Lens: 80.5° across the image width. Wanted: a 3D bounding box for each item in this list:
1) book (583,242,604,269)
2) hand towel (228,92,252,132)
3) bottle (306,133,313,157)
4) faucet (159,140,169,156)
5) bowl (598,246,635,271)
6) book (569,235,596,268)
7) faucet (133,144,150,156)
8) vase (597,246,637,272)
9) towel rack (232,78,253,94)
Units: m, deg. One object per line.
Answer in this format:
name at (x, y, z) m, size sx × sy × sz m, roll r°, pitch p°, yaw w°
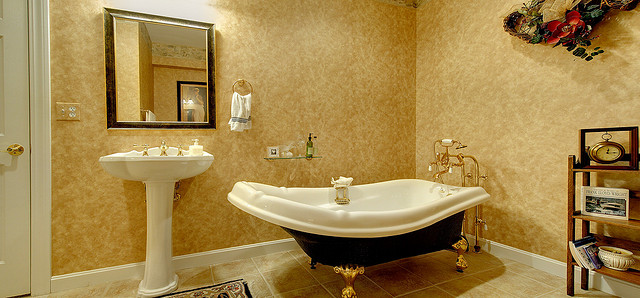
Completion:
book at (3.473, 1.354, 4.782) m, size 0.343 × 0.254 × 0.070 m, roll -4°, pitch -22°, yaw -18°
hand towel at (-1.130, -0.520, 5.369) m, size 0.353 × 0.550 × 0.191 m, roll -3°, pitch 6°, yaw -11°
bottle at (-0.168, -0.058, 5.629) m, size 0.093 × 0.342 × 0.124 m, roll -3°, pitch 6°, yaw -1°
faucet at (-2.126, -0.018, 5.146) m, size 0.122 × 0.196 × 0.204 m, roll -5°, pitch 5°, yaw -22°
bowl at (3.705, 1.369, 4.744) m, size 0.369 × 0.172 × 0.296 m, roll -1°, pitch 1°, yaw -12°
book at (3.297, 1.352, 4.923) m, size 0.431 × 0.329 × 0.087 m, roll -11°, pitch -22°, yaw -16°
faucet at (-2.389, 0.014, 5.059) m, size 0.200 × 0.141 × 0.280 m, roll -4°, pitch 4°, yaw -24°
vase at (3.694, 1.370, 4.740) m, size 0.400 × 0.177 × 0.326 m, roll -2°, pitch 0°, yaw -6°
towel rack at (-1.140, -0.901, 5.439) m, size 0.334 × 0.231 × 0.044 m, roll 0°, pitch 1°, yaw -20°
